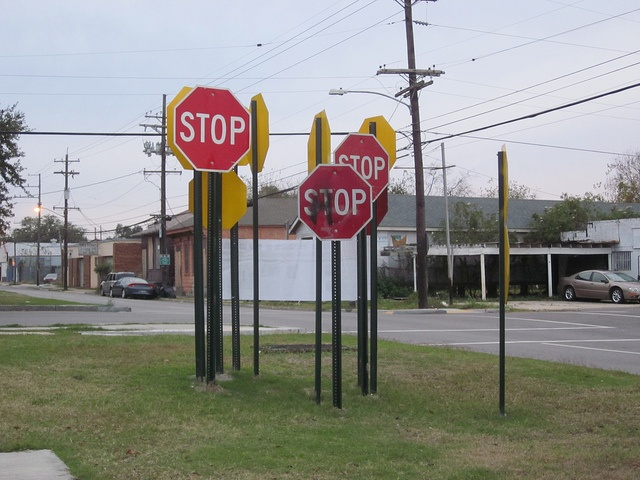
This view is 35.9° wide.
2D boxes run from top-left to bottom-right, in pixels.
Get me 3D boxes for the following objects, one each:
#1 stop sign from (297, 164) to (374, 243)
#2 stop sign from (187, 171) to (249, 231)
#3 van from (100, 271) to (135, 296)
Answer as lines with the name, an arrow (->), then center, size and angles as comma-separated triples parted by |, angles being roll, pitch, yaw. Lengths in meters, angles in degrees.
stop sign -> 0.303, -0.648, 16.782 | 1.402, 1.387, 0.233 | -2, 2, -10
stop sign -> -1.861, -0.716, 17.942 | 1.368, 1.450, 0.183 | -1, 7, -8
van -> -11.024, 2.363, 53.345 | 1.362, 1.238, 2.196 | 0, 3, -32
